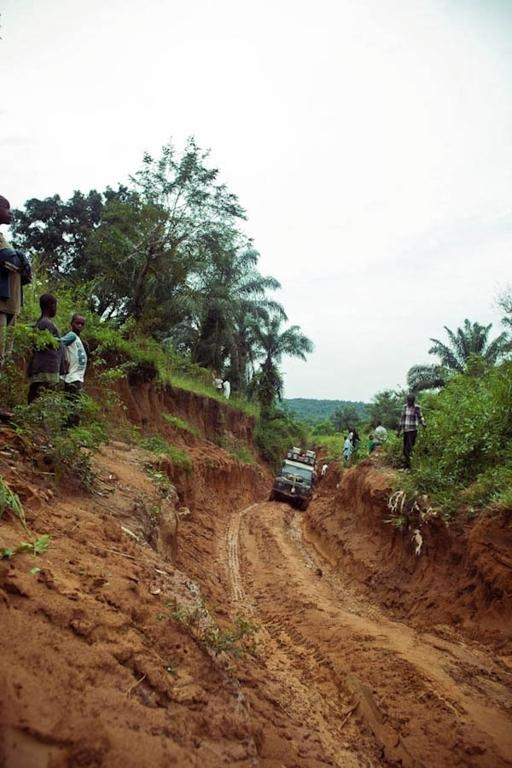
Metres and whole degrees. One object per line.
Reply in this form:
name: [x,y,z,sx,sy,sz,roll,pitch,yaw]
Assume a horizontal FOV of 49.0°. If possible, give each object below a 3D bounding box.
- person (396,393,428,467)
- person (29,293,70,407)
person: [2.969,0.909,10.814,0.529,1.458,0.869,-10,-1,13]
person: [-2.133,-0.392,5.568,0.390,1.017,0.796,-9,-2,-19]
